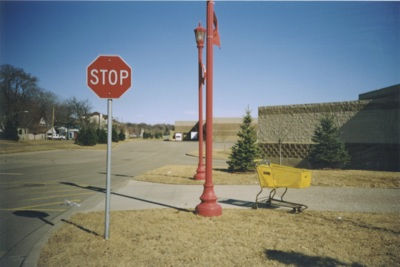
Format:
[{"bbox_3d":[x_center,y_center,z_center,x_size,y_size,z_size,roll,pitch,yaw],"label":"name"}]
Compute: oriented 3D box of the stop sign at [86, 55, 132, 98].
[{"bbox_3d":[-3.205,-1.975,12.536,1.472,1.440,0.320,-2,10,-6],"label":"stop sign"}]
